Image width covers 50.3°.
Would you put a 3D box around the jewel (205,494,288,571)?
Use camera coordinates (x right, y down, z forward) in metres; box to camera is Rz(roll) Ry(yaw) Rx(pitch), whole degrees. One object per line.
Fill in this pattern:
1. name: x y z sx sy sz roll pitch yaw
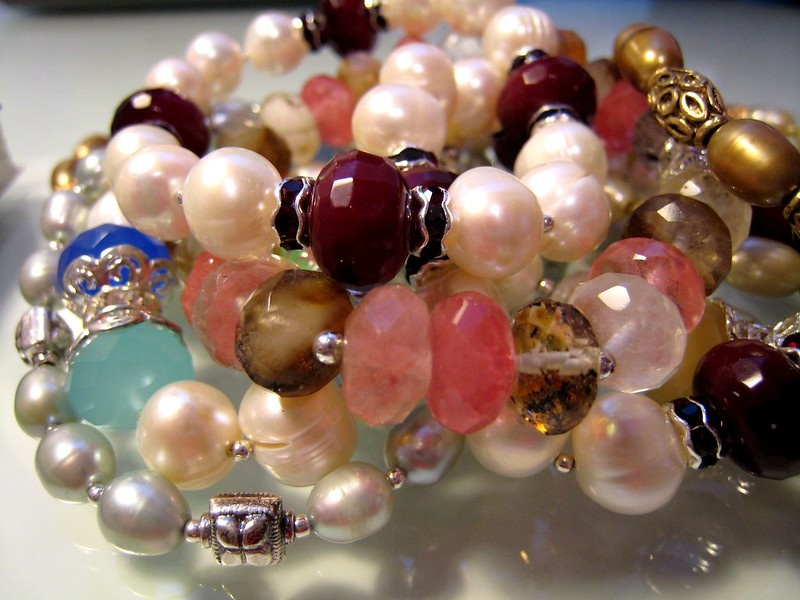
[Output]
1. jewel: -0.233 0.353 1.325 0.143 0.142 0.108 -1 91 -6

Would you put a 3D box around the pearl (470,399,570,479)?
1. pearl: 0.183 0.218 1.390 0.116 0.123 0.089 0 87 -2

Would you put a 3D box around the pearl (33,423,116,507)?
1. pearl: -0.544 0.271 1.389 0.103 0.130 0.102 24 21 38

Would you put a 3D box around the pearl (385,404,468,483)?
1. pearl: 0.032 0.241 1.376 0.108 0.067 0.114 31 61 19

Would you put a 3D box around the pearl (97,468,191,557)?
1. pearl: -0.392 0.330 1.353 0.132 0.110 0.104 12 22 17
